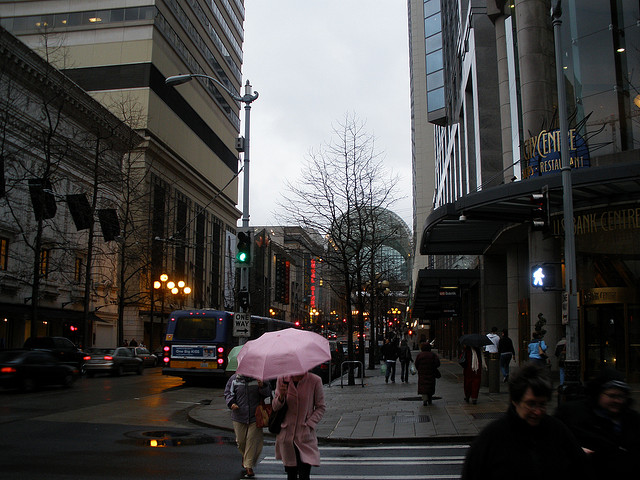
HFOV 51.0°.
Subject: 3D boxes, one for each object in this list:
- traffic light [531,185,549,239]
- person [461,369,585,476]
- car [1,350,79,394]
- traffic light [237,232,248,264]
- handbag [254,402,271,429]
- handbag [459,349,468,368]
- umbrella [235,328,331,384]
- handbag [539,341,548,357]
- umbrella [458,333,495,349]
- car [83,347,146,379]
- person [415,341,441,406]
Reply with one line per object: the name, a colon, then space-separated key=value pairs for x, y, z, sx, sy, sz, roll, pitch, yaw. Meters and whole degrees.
traffic light: x=6.301 y=-0.935 z=19.212 sx=0.511 sy=1.408 sz=0.417 roll=-1 pitch=-13 yaw=7
person: x=2.435 y=2.185 z=8.074 sx=1.444 sy=1.254 sz=0.332 roll=5 pitch=-13 yaw=-15
car: x=-11.010 y=4.978 z=25.830 sx=1.155 sy=1.047 sz=2.925 roll=-2 pitch=-8 yaw=11
traffic light: x=-2.418 y=0.193 z=21.024 sx=0.330 sy=1.064 sz=0.544 roll=3 pitch=-13 yaw=-7
handbag: x=-1.036 y=3.139 z=11.982 sx=0.199 sy=0.498 sz=0.506 roll=-13 pitch=-14 yaw=13
handbag: x=4.413 y=3.678 z=20.594 sx=0.207 sy=0.493 sz=0.412 roll=10 pitch=-37 yaw=6
umbrella: x=-0.715 y=2.143 z=11.800 sx=1.847 sy=0.969 sz=1.719 roll=-2 pitch=9 yaw=5
handbag: x=7.717 y=3.781 z=23.218 sx=0.159 sy=0.557 sz=0.672 roll=-6 pitch=-16 yaw=29
umbrella: x=4.772 y=3.076 z=20.673 sx=0.863 sy=0.492 sz=0.967 roll=-7 pitch=-17 yaw=26
car: x=-10.873 y=6.475 z=35.621 sx=1.363 sy=1.150 sz=3.271 roll=-2 pitch=-7 yaw=9
person: x=3.370 y=4.162 z=20.994 sx=0.701 sy=1.985 sz=0.827 roll=-1 pitch=-13 yaw=9
